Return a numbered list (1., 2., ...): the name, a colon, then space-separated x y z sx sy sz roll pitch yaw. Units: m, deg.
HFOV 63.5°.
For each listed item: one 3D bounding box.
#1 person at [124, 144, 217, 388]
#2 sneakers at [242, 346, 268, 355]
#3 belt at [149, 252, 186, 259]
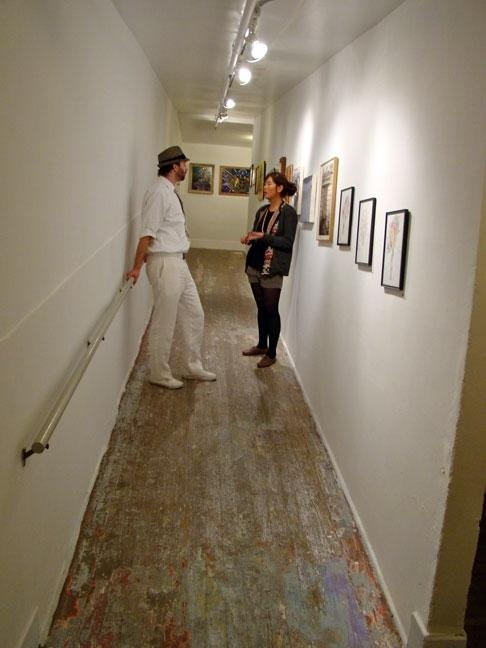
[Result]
1. person: -0.624 -0.425 3.197 0.300 1.960 0.807 8 9 40
2. sneakers: 0.132 0.276 4.168 0.246 0.146 0.108 3 3 -18
3. belt: -0.607 -0.550 3.137 0.275 0.050 0.138 -1 12 -32
